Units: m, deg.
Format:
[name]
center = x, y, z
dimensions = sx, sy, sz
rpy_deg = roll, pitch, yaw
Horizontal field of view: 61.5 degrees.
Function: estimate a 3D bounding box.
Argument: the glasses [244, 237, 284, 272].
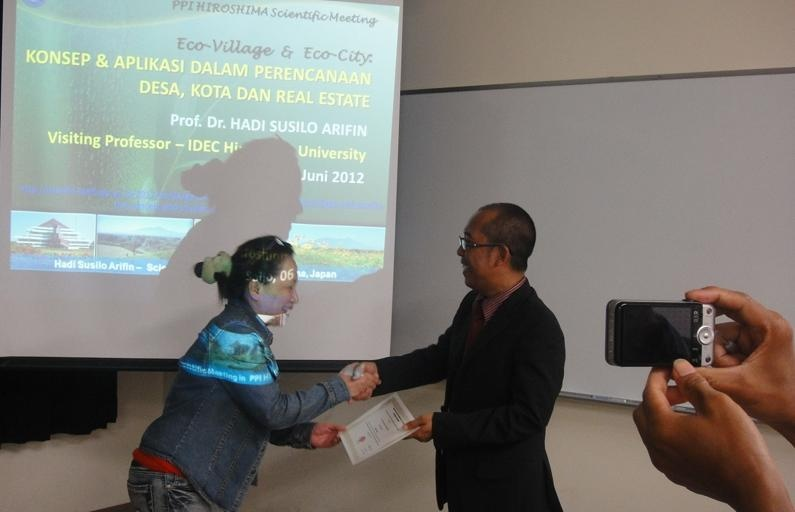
[glasses]
center = -0.644, -0.016, 3.353
dimensions = 0.184, 0.159, 0.138
rpy_deg = -14, 5, 41
